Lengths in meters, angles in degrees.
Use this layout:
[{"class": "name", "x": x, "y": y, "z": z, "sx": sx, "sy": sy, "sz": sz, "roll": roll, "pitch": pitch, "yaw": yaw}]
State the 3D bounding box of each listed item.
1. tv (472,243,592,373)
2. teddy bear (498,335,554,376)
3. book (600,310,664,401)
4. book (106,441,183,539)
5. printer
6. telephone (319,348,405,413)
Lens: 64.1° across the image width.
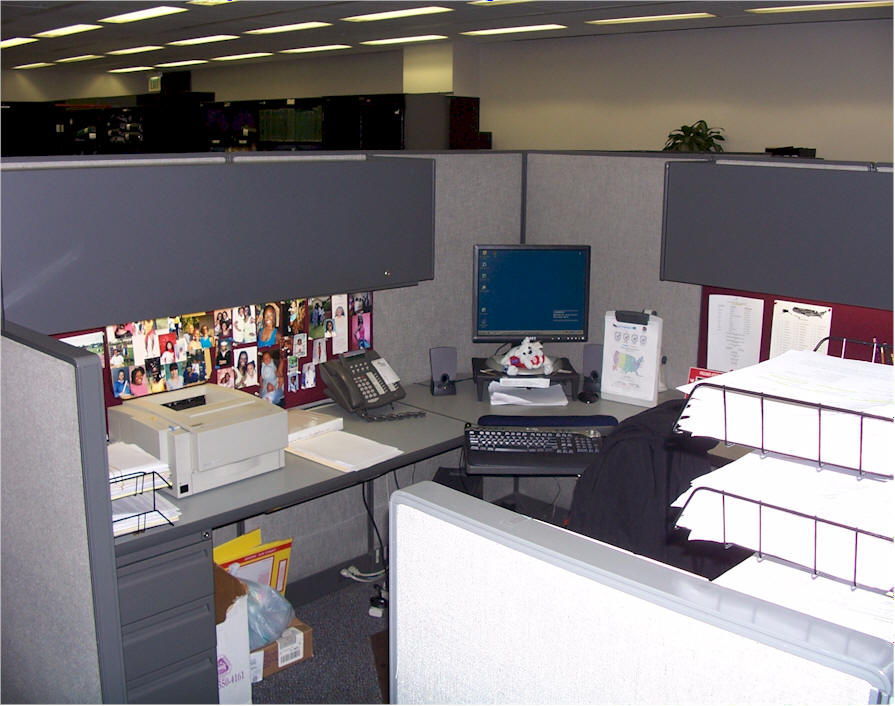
[{"class": "tv", "x": 0.364, "y": -0.210, "z": 3.093, "sx": 0.543, "sy": 0.479, "sz": 0.061, "roll": 0, "pitch": 7, "yaw": 0}, {"class": "teddy bear", "x": 0.342, "y": 0.014, "z": 3.069, "sx": 0.231, "sy": 0.148, "sz": 0.179, "roll": -2, "pitch": 9, "yaw": 5}, {"class": "book", "x": 0.765, "y": 0.014, "z": 2.945, "sx": 0.307, "sy": 0.446, "sz": 0.054, "roll": 8, "pitch": 10, "yaw": 32}, {"class": "book", "x": -0.821, "y": 0.366, "z": 1.973, "sx": 0.175, "sy": 0.096, "sz": 0.239, "roll": 14, "pitch": 19, "yaw": 33}, {"class": "printer", "x": -0.802, "y": 0.235, "z": 2.235, "sx": 0.362, "sy": 0.172, "sz": 0.349, "roll": 14, "pitch": 18, "yaw": 37}, {"class": "telephone", "x": -0.325, "y": 0.105, "z": 2.859, "sx": 0.255, "sy": 0.147, "sz": 0.271, "roll": 32, "pitch": 32, "yaw": 33}]
